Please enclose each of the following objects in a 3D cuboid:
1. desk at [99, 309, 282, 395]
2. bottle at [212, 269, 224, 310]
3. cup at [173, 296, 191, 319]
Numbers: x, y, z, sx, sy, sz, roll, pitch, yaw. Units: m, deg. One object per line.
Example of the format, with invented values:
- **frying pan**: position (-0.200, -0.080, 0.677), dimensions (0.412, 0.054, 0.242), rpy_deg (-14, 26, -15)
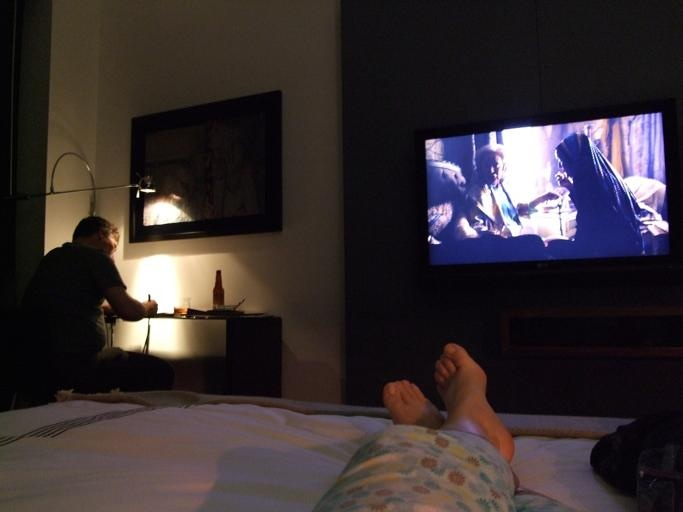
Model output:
- **desk**: position (-0.763, 0.686, 3.663), dimensions (0.389, 0.502, 0.733), rpy_deg (-25, -25, 37)
- **bottle**: position (-0.818, 0.220, 3.874), dimensions (0.084, 0.247, 0.264), rpy_deg (0, 9, -12)
- **cup**: position (-1.042, 0.330, 3.761), dimensions (0.116, 0.135, 0.125), rpy_deg (0, -7, 0)
